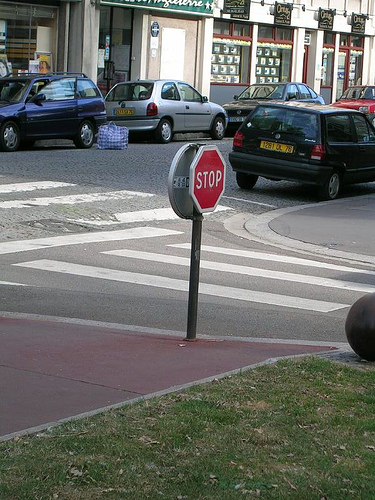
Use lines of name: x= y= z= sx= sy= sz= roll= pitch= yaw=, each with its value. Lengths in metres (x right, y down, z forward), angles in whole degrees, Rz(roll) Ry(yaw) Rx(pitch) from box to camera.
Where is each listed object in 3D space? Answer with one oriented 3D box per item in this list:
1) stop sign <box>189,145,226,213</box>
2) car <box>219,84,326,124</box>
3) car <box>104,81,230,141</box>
stop sign: x=0.141 y=-0.502 z=4.747 sx=0.210 sy=0.527 sz=0.460 roll=5 pitch=13 yaw=10
car: x=3.502 y=-5.820 z=26.467 sx=2.601 sy=1.822 sz=4.449 roll=12 pitch=21 yaw=41
car: x=-0.704 y=-4.833 z=22.847 sx=3.742 sy=1.613 sz=2.109 roll=-15 pitch=20 yaw=-42
